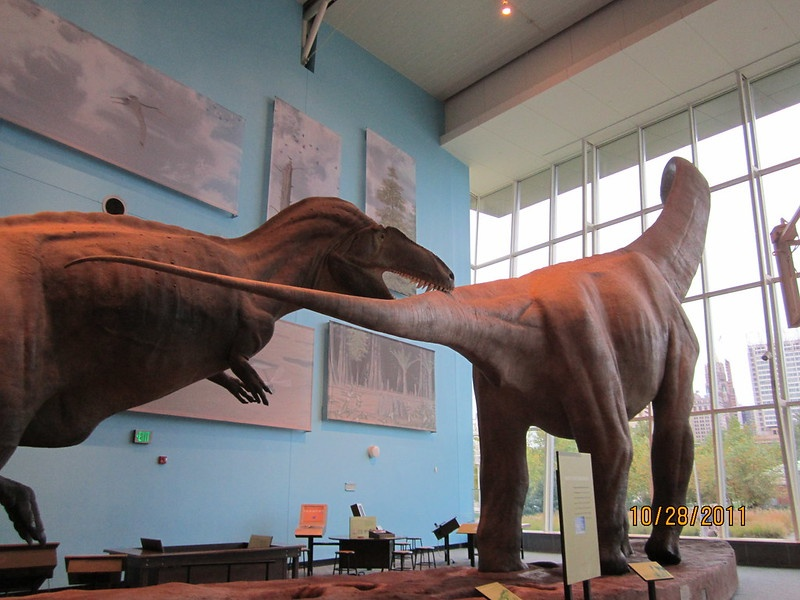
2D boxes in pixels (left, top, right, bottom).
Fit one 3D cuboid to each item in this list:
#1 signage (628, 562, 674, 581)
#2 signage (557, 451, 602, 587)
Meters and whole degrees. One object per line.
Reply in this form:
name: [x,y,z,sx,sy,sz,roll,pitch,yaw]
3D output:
signage: [1.416,1.524,3.290,0.161,0.058,0.247,22,3,41]
signage: [0.926,1.181,3.050,0.143,0.740,0.550,-9,-18,30]
